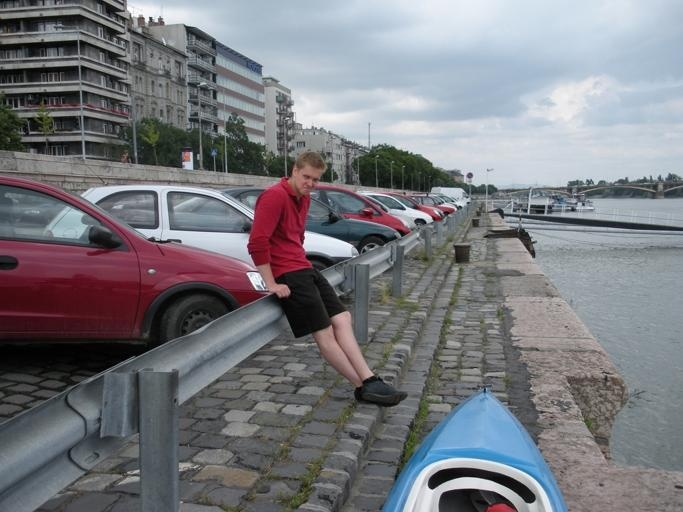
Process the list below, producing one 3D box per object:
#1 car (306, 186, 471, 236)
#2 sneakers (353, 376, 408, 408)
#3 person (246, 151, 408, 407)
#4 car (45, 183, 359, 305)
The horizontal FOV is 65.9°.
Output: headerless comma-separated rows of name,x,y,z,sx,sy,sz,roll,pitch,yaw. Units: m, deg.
car,0.648,-1.277,14.317,2.825,0.937,1.339,0,9,-8
sneakers,0.322,1.095,4.274,0.418,0.167,0.213,-4,1,28
person,-0.138,0.178,4.254,1.393,1.600,0.472,14,6,-6
car,-1.728,-0.288,8.015,4.302,1.179,1.684,1,4,-6
